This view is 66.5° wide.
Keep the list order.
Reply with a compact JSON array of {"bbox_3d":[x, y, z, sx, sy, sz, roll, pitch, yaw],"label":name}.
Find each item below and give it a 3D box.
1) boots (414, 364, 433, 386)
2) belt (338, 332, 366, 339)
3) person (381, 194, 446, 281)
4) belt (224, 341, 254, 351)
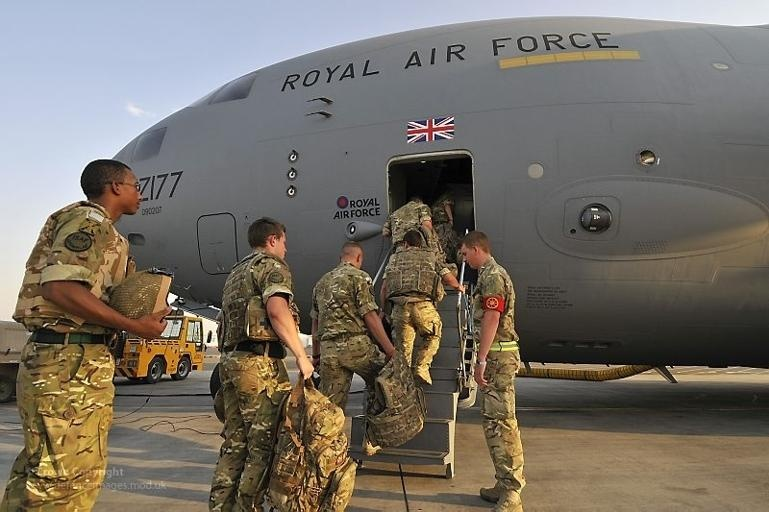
[{"bbox_3d":[0.474,1.475,7.166,0.218,0.141,0.263,7,32,-10],"label":"boots"},{"bbox_3d":[-0.351,0.878,6.352,0.293,0.074,0.043,0,-2,-4],"label":"belt"},{"bbox_3d":[0.429,-0.298,8.394,0.953,1.218,0.739,3,-17,-6],"label":"person"},{"bbox_3d":[-1.315,0.852,5.351,0.170,0.063,0.121,-7,-16,13],"label":"belt"}]
